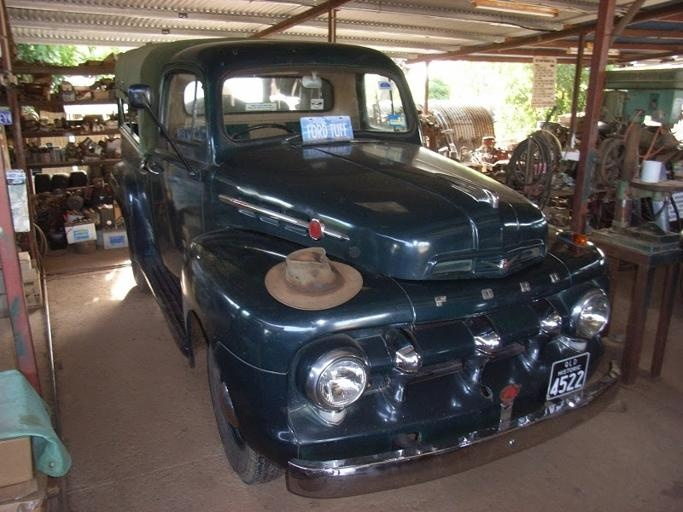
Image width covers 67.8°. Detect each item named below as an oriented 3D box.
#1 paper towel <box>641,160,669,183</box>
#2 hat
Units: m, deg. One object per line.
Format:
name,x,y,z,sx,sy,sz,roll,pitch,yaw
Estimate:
paper towel,2.503,-0.685,4.124,0.258,0.167,0.142,-6,12,-24
hat,-0.142,0.115,2.602,0.489,0.220,0.333,-5,19,-8
